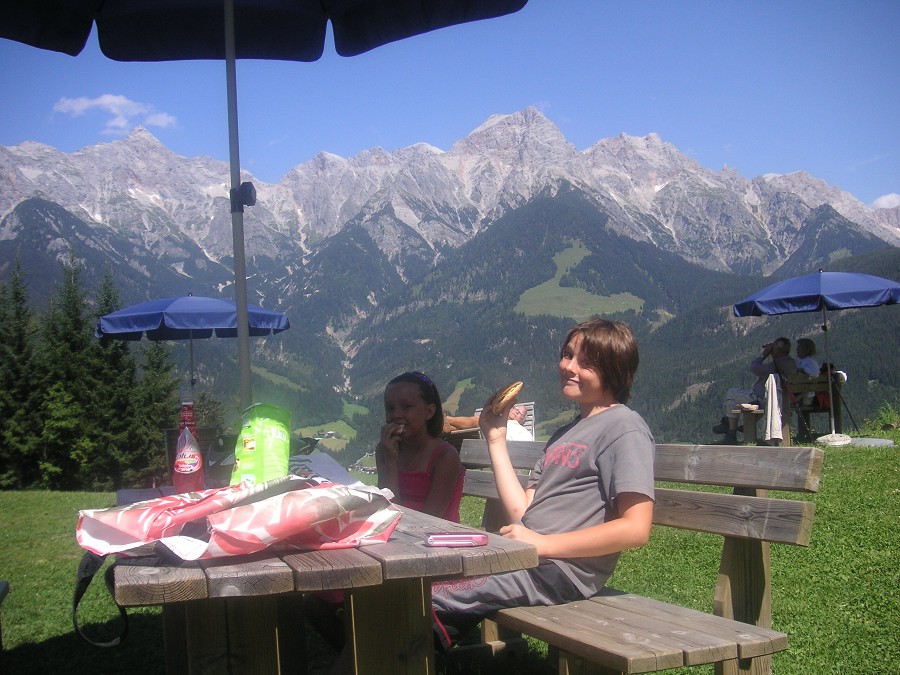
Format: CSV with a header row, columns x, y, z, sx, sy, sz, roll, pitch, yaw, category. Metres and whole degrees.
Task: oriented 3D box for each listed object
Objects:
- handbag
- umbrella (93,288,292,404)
x,y,z,sx,sy,sz,roll,pitch,yaw,category
-0.820,0.705,2.812,0.848,0.304,0.863,-2,-4,-20,handbag
-5.101,0.385,14.729,2.395,1.685,2.521,-1,7,-6,umbrella
